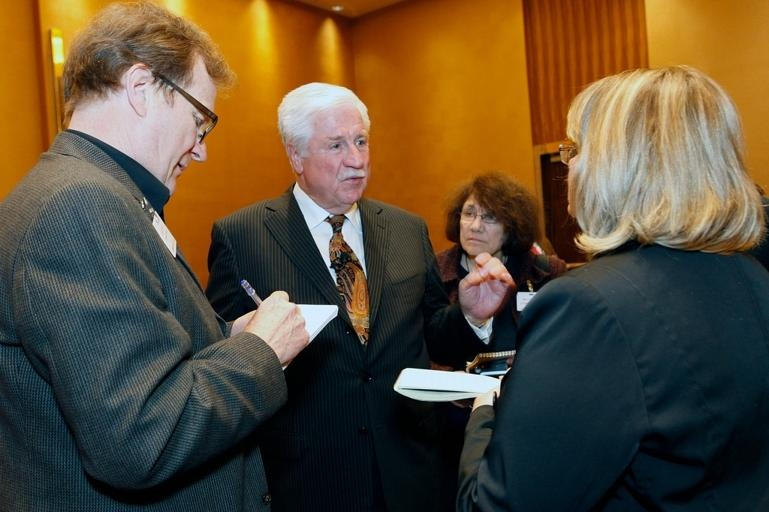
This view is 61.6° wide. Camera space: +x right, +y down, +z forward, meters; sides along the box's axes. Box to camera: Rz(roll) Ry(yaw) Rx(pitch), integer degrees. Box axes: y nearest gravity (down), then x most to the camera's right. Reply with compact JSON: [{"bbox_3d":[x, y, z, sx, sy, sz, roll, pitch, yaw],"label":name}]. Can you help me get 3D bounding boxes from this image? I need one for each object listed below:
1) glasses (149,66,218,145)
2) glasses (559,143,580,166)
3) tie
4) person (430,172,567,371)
[{"bbox_3d":[-0.566,-0.432,1.842,0.149,0.042,0.152,41,-8,1],"label":"glasses"},{"bbox_3d":[0.517,-0.284,1.809,0.054,0.043,0.046,2,-11,3],"label":"glasses"},{"bbox_3d":[-0.151,0.106,2.562,0.109,0.534,0.040,-11,-11,-25],"label":"tie"},{"bbox_3d":[0.690,0.122,3.741,0.917,1.040,0.690,-7,15,-25],"label":"person"}]
